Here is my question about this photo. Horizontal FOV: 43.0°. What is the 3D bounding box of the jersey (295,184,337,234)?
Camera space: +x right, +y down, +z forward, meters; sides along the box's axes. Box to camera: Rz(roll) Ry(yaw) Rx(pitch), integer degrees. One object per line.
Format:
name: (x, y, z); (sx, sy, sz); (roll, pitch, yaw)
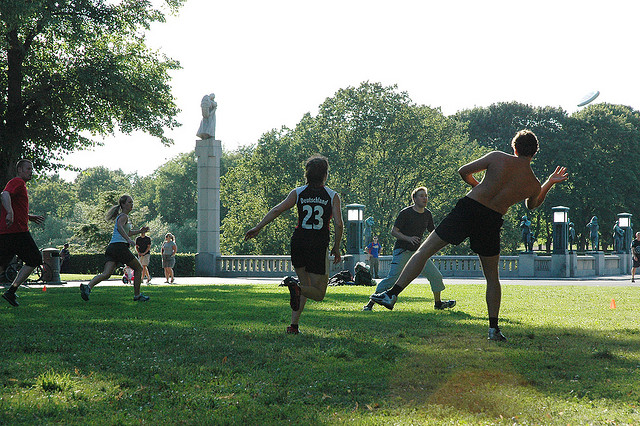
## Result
jersey: (-0.286, -0.029, 17.287); (1.082, 1.250, 0.715); (4, -1, -26)

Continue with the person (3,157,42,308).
person: (-7.270, 0.498, 19.790); (0.925, 3.551, 1.250); (3, -6, -19)

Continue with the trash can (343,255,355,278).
trash can: (1.256, 2.212, 35.971); (0.471, 0.715, 1.065); (1, -6, -1)

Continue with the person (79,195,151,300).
person: (-5.179, 0.880, 20.873); (1.512, 2.692, 0.906); (2, -6, -9)

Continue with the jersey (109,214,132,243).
jersey: (-5.292, 0.429, 21.102); (0.633, 0.843, 0.772); (3, -2, -5)

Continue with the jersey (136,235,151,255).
jersey: (-6.460, 1.154, 29.649); (0.463, 0.597, 0.371); (2, -6, -10)

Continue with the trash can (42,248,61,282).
trash can: (-10.388, 2.018, 31.441); (0.729, 1.258, 0.918); (3, -6, -18)

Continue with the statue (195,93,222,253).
statue: (-5.220, -1.806, 37.694); (1.093, 7.248, 1.477); (2, -6, -3)
